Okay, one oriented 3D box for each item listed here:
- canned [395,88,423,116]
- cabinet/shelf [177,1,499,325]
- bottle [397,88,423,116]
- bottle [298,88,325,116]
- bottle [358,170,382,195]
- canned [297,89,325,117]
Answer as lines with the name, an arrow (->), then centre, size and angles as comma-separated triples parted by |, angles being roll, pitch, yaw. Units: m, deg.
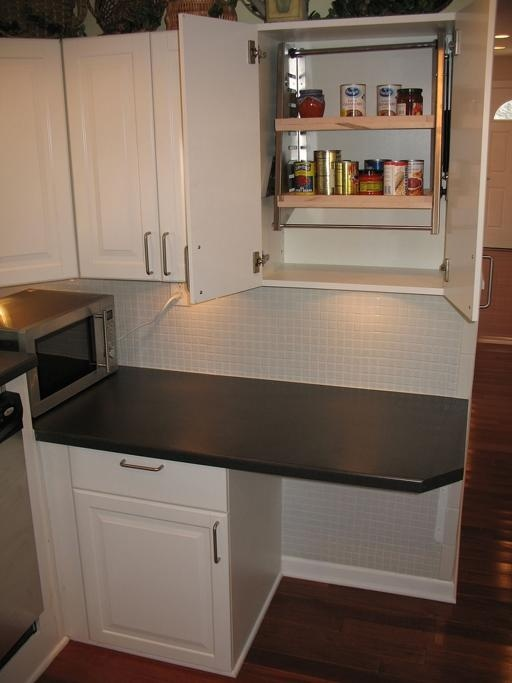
canned -> 0.415, -0.642, 1.526 | 0.079, 0.085, 0.080 | -1, 16, 2
cabinet/shelf -> 0.222, -0.517, 1.586 | 0.872, 0.860, 0.659 | 3, 18, 12
bottle -> 0.407, -0.637, 1.542 | 0.079, 0.084, 0.080 | -1, 16, 2
bottle -> 0.155, -0.682, 1.633 | 0.079, 0.078, 0.081 | -1, 27, 1
bottle -> 0.324, -0.446, 1.607 | 0.069, 0.067, 0.070 | -8, 17, -14
canned -> 0.157, -0.679, 1.630 | 0.083, 0.081, 0.084 | -2, 26, 1
